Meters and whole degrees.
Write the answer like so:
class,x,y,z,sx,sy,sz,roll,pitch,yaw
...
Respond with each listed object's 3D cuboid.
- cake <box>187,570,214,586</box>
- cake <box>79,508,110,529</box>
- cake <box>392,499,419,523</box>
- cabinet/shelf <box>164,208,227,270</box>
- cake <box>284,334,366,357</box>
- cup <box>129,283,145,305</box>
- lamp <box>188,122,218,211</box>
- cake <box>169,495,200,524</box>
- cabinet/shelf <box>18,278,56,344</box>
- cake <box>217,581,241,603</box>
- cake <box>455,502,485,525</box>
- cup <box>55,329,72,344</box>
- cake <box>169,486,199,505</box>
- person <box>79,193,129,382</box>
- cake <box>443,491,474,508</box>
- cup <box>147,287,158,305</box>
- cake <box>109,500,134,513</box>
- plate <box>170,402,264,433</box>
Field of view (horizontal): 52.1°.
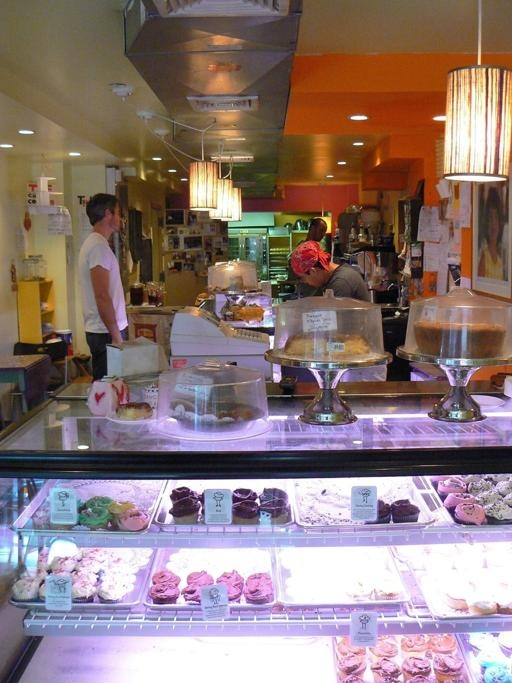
class,x,y,z,sx,sy,sz,roll,pitch,yaw
cake,-0.141,0.607,1.371,0.053,0.018,0.050,-2,5,-10
cake,-0.379,0.419,1.240,0.071,0.029,0.039,-2,11,4
cake,0.347,0.396,1.227,0.062,0.032,0.080,-1,11,12
cabinet/shelf,-1.342,-2.250,11.708,1.393,1.395,0.459,-5,11,-9
cake,0.180,0.010,1.421,0.233,0.052,0.081,0,11,15
cup,-1.924,-0.770,8.552,0.234,0.290,0.410,-6,11,-13
lamp,-0.519,-1.568,5.234,0.285,0.464,0.256,-5,11,-7
cake,-0.164,0.393,1.232,0.057,0.049,0.053,0,-3,-7
cabinet/shelf,-2.969,-0.434,7.102,0.347,0.836,0.637,-3,11,2
cake,-0.066,0.627,1.307,0.061,0.048,0.058,1,-1,2
cake,0.503,0.407,1.236,0.069,0.029,0.064,-9,12,-30
cup,-2.558,-0.087,7.120,0.206,0.204,0.200,1,11,0
cake,-0.175,0.368,1.265,0.043,0.012,0.042,2,-1,25
person,-1.142,-0.430,3.948,0.362,1.348,0.599,-7,11,-15
cake,0.496,0.380,1.283,0.053,0.022,0.037,-12,4,-1
cup,-1.723,-0.787,8.791,0.172,0.271,0.559,-6,11,-11
cake,-0.318,0.397,1.256,0.057,0.015,0.047,-5,11,-14
plate,-0.084,0.172,1.250,0.231,0.074,0.098,-5,11,-11
